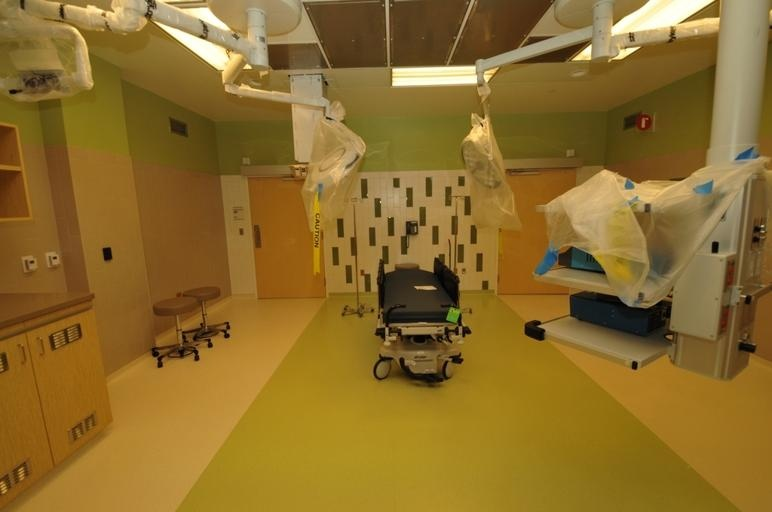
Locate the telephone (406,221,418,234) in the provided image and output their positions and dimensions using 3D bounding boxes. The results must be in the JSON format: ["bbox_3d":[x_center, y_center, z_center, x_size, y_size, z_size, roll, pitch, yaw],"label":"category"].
[{"bbox_3d":[0.392,-0.410,8.038,0.173,0.228,0.113,-1,14,1],"label":"telephone"}]

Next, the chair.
[{"bbox_3d":[2.128,-0.018,4.410,1.552,1.865,1.546,-10,13,-40],"label":"chair"}]

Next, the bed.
[{"bbox_3d":[0.355,0.576,6.055,0.733,0.764,1.428,0,21,-1],"label":"bed"}]

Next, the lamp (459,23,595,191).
[{"bbox_3d":[1.144,-1.228,4.642,0.466,1.303,1.171,-12,17,-36],"label":"lamp"}]
